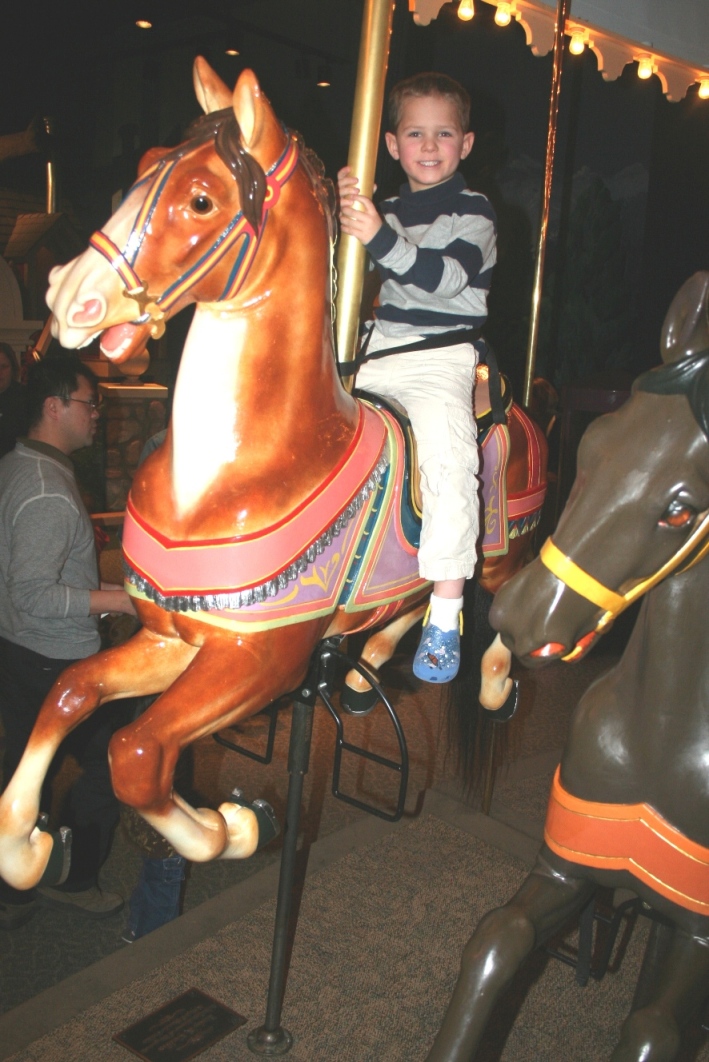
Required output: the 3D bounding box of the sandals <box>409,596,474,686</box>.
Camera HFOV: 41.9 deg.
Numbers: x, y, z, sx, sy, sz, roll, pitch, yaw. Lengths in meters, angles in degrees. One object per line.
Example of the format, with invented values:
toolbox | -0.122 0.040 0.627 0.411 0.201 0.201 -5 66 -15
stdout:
sandals | 0.172 0.203 1.715 0.068 0.117 0.202 3 10 8
